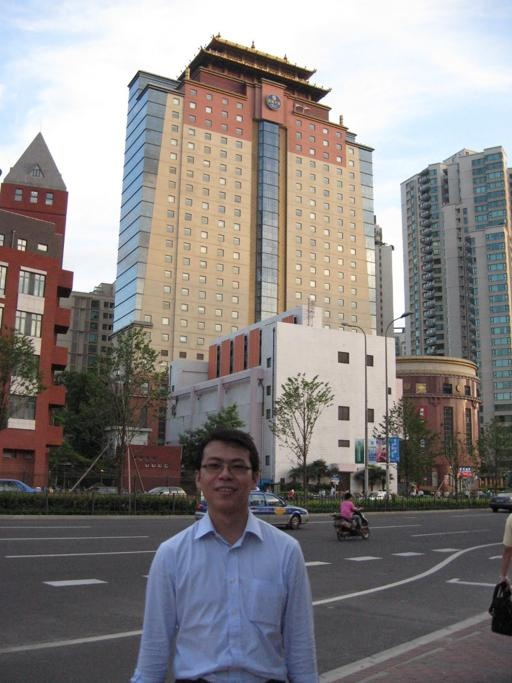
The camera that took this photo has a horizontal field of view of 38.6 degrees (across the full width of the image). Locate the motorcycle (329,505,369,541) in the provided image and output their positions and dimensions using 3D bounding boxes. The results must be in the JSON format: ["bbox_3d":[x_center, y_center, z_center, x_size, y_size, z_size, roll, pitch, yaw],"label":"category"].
[{"bbox_3d":[2.851,5.615,22.322,0.446,0.849,1.290,-8,-11,44],"label":"motorcycle"}]
